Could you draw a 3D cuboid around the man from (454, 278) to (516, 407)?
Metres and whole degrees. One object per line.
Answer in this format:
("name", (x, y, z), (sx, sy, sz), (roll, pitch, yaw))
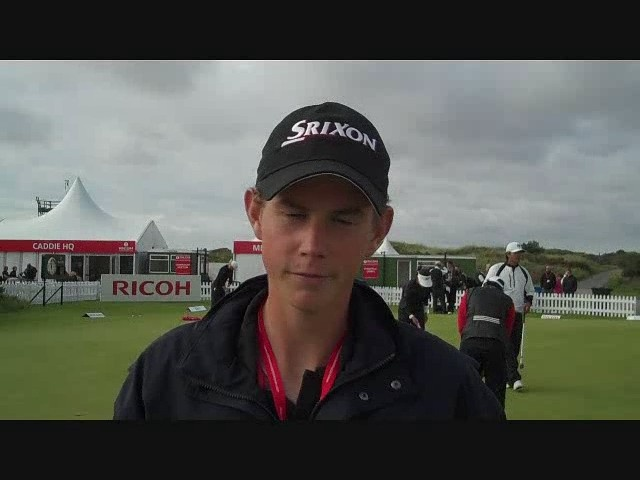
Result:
("man", (1.581, 1.025, 5.621), (0.468, 1.489, 0.479), (1, -33, 22))

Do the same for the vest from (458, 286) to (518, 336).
("vest", (1.606, 0.779, 5.675), (0.498, 0.664, 0.352), (4, -38, 17))

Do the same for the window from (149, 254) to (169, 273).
("window", (-4.992, 0.728, 18.331), (0.499, 0.548, 0.188), (0, -4, -4))

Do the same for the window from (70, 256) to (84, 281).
("window", (-7.169, 0.841, 17.399), (0.389, 0.723, 0.258), (2, -4, -26))

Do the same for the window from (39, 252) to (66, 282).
("window", (-7.765, 0.781, 17.091), (0.712, 0.935, 0.116), (1, 1, -11))

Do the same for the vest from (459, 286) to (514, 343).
("vest", (1.610, 0.775, 5.685), (0.483, 0.660, 0.337), (6, -32, 14))

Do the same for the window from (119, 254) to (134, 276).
("window", (-5.751, 0.774, 17.460), (0.517, 0.797, 0.069), (-2, -1, -30))

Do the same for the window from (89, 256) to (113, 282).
("window", (-6.394, 0.834, 17.297), (0.634, 0.844, 0.080), (1, -4, 2))
